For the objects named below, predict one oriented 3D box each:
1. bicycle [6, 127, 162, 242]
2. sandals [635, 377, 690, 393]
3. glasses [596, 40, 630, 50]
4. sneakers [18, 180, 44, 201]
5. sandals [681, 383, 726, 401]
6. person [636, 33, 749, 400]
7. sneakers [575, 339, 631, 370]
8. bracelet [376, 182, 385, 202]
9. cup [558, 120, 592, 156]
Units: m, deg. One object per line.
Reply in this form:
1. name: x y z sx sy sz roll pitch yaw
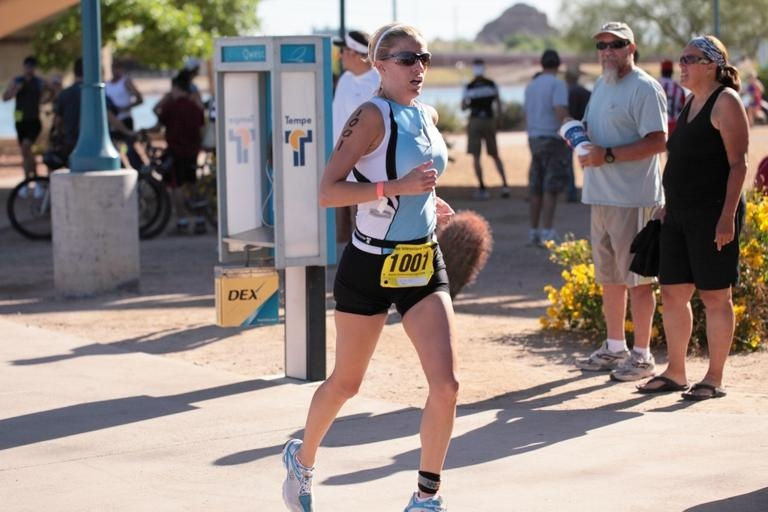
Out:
1. bicycle: -3.681 -0.667 14.368 1.817 1.116 0.909 -6 -9 -10
2. sandals: 2.263 1.058 9.451 0.412 0.143 0.149 2 3 -3
3. glasses: 1.891 -1.732 9.589 0.279 0.085 0.149 1 6 14
4. sneakers: -4.274 -0.786 14.066 0.292 0.126 0.208 4 -21 12
5. sandals: 2.561 1.075 9.296 0.277 0.093 0.149 0 -1 -18
6. person: 2.493 -0.289 9.235 0.716 2.869 0.402 1 6 13
7. sneakers: 1.890 0.858 10.073 0.544 0.253 0.199 -2 10 4
8. bracelet: -0.033 -0.422 7.572 0.054 0.112 0.092 -1 6 -6
9. cup: 1.602 -0.945 9.625 0.213 0.314 0.205 -14 -34 -10
